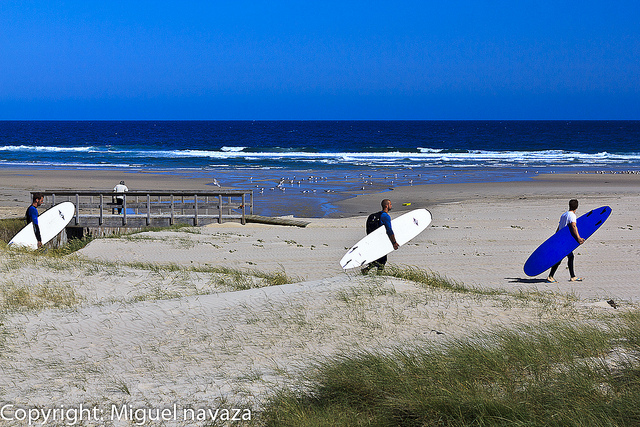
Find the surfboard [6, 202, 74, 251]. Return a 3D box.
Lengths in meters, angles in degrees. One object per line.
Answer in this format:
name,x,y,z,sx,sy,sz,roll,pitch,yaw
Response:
surfboard,-7.541,0.400,24.245,0.298,0.532,2.039,-11,21,25

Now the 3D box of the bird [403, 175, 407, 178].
bird,4.903,-2.178,52.281,0.208,0.200,0.528,-2,7,8

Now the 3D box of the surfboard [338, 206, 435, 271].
surfboard,1.463,0.597,20.284,3.435,0.815,0.470,-30,15,-32

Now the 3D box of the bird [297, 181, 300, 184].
bird,-1.183,-1.663,47.626,0.265,0.145,0.063,-12,-23,44

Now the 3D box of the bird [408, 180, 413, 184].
bird,4.838,-1.706,48.332,0.202,0.211,0.610,-2,8,15

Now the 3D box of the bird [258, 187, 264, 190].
bird,-2.946,-1.216,43.810,0.286,0.105,0.284,-5,-3,38

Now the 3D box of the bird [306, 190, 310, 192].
bird,-0.638,-1.073,43.453,0.138,0.104,0.031,0,-13,-25

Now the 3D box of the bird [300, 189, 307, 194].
bird,-0.857,-1.060,43.404,0.225,0.217,0.598,1,8,-5

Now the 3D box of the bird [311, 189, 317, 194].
bird,-0.341,-1.046,43.356,0.246,0.275,0.731,-1,5,9

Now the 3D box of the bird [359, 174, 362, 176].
bird,2.353,-2.296,53.098,0.224,0.050,0.202,9,17,34
